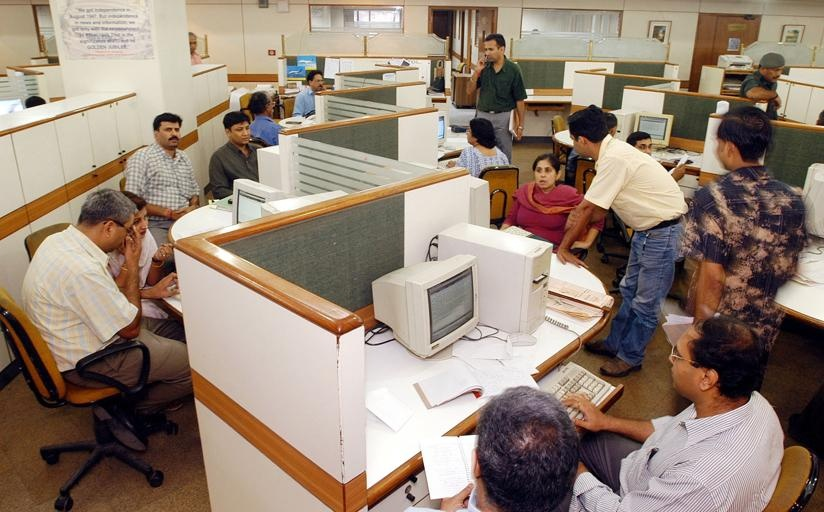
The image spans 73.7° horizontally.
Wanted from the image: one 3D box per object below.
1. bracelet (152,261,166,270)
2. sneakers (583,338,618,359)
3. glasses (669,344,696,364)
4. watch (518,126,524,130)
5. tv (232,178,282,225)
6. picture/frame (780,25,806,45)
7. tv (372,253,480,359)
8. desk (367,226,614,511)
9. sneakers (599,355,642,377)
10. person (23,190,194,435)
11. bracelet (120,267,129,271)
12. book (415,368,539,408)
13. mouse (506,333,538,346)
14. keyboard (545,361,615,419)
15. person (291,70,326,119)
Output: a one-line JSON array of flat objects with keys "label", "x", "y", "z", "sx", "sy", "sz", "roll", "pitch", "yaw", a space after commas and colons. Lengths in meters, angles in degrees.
[{"label": "bracelet", "x": -1.681, "y": 0.055, "z": 3.659, "sx": 0.052, "sy": 0.035, "sz": 0.052, "roll": -25, "pitch": 34, "yaw": -37}, {"label": "sneakers", "x": 1.426, "y": 0.687, "z": 4.240, "sx": 0.279, "sy": 0.113, "sz": 0.100, "roll": 11, "pitch": 18, "yaw": 33}, {"label": "glasses", "x": 1.214, "y": 0.441, "z": 2.470, "sx": 0.071, "sy": 0.022, "sz": 0.069, "roll": 28, "pitch": 21, "yaw": 25}, {"label": "watch", "x": 1.306, "y": -1.519, "z": 6.585, "sx": 0.052, "sy": 0.024, "sz": 0.067, "roll": 5, "pitch": 20, "yaw": 14}, {"label": "tv", "x": -0.952, "y": -0.328, "z": 3.388, "sx": 0.326, "sy": 0.291, "sz": 0.182, "roll": 20, "pitch": 28, "yaw": 22}, {"label": "picture/frame", "x": 7.672, "y": -4.464, "z": 11.113, "sx": 0.482, "sy": 0.357, "sz": 0.047, "roll": 0, "pitch": 25, "yaw": -2}, {"label": "tv", "x": 0.121, "y": 0.227, "z": 3.047, "sx": 0.552, "sy": 0.478, "sz": 0.569, "roll": 16, "pitch": 29, "yaw": 33}, {"label": "desk", "x": 0.335, "y": 0.560, "z": 2.728, "sx": 0.605, "sy": 0.554, "sz": 1.171, "roll": 20, "pitch": 40, "yaw": 30}, {"label": "sneakers", "x": 1.557, "y": 0.809, "z": 4.086, "sx": 0.323, "sy": 0.127, "sz": 0.125, "roll": 0, "pitch": 16, "yaw": -4}, {"label": "person", "x": -1.818, "y": 0.365, "z": 3.285, "sx": 0.704, "sy": 1.387, "sz": 0.563, "roll": -20, "pitch": 32, "yaw": -36}, {"label": "bracelet", "x": -1.786, "y": 0.080, "z": 3.427, "sx": 0.039, "sy": 0.027, "sz": 0.036, "roll": 0, "pitch": 5, "yaw": 21}, {"label": "book", "x": 0.304, "y": 0.642, "z": 2.802, "sx": 0.468, "sy": 0.050, "sz": 0.262, "roll": -11, "pitch": 28, "yaw": -18}, {"label": "mouse", "x": 0.614, "y": 0.462, "z": 3.060, "sx": 0.127, "sy": 0.029, "sz": 0.070, "roll": 2, "pitch": 17, "yaw": 16}, {"label": "keyboard", "x": 0.908, "y": 0.692, "z": 2.947, "sx": 0.233, "sy": 0.069, "sz": 0.332, "roll": 25, "pitch": 45, "yaw": 36}, {"label": "person", "x": -1.378, "y": -2.130, "z": 7.263, "sx": 0.407, "sy": 0.549, "sz": 0.772, "roll": -3, "pitch": 25, "yaw": -8}]
